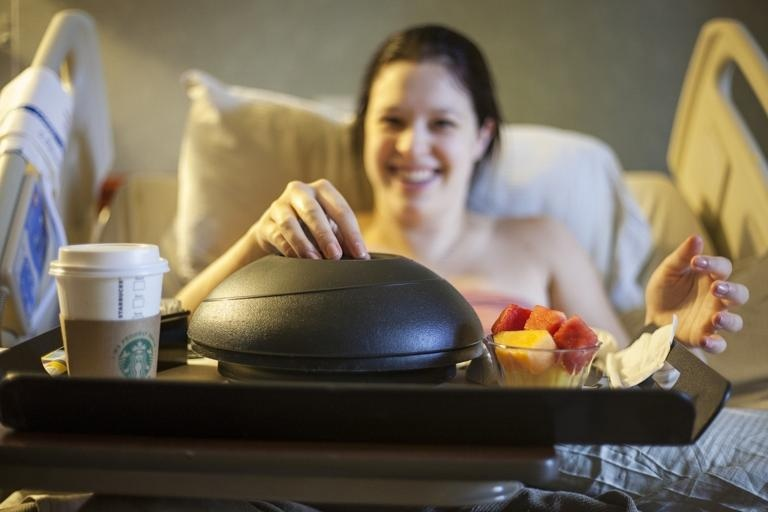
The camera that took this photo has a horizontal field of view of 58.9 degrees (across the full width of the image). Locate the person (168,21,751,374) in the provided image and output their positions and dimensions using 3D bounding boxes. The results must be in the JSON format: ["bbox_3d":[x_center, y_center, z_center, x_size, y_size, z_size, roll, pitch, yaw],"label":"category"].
[{"bbox_3d":[0.152,-0.387,1.576,1.241,0.881,0.703,2,-22,-1],"label":"person"}]

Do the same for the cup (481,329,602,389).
[{"bbox_3d":[0.221,0.156,0.977,0.160,0.071,0.162,0,1,0],"label":"cup"}]

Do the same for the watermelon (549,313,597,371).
[{"bbox_3d":[0.253,0.111,0.933,0.064,0.071,0.035,-4,10,-35],"label":"watermelon"}]

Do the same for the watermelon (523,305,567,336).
[{"bbox_3d":[0.233,0.093,0.965,0.042,0.032,0.043,15,-22,-3],"label":"watermelon"}]
